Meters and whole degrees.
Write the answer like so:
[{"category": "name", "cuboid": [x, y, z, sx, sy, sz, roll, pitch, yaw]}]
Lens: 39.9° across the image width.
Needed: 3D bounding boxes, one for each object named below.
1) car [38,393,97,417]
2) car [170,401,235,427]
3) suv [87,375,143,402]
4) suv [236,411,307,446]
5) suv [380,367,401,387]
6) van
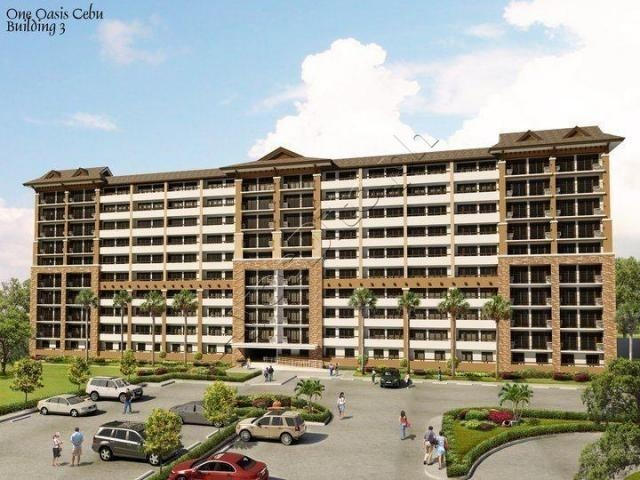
[{"category": "car", "cuboid": [-30.126, 19.863, 105.869, 6.036, 1.854, 2.759, -1, -1, 14]}, {"category": "car", "cuboid": [-13.769, 20.319, 101.927, 6.823, 2.281, 3.064, -1, -1, 8]}, {"category": "suv", "cuboid": [-26.212, 18.957, 112.304, 7.013, 2.758, 3.012, -1, -5, 9]}, {"category": "suv", "cuboid": [-5.404, 21.026, 98.604, 6.083, 2.553, 3.558, 2, -6, 10]}, {"category": "suv", "cuboid": [9.403, 18.686, 119.506, 2.280, 2.562, 3.158, -8, -11, 35]}, {"category": "van", "cuboid": [-19.940, 21.943, 95.881, 9.375, 3.885, 4.506, 1, 2, 15]}]
